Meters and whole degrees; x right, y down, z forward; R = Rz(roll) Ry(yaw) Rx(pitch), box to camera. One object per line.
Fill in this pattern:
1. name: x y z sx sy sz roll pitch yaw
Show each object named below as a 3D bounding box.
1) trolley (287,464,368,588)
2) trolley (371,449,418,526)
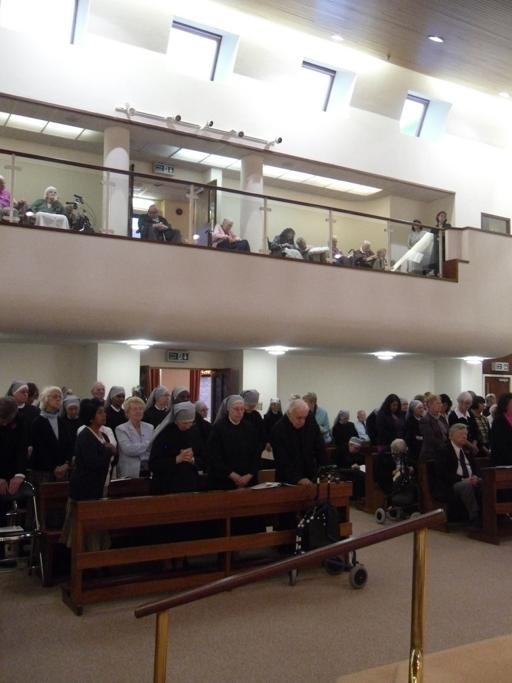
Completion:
1. trolley: 0.572 1.679 4.965 0.782 1.031 0.792 -5 -17 10
2. trolley: 2.049 2.002 7.803 0.657 1.147 0.596 1 0 35
